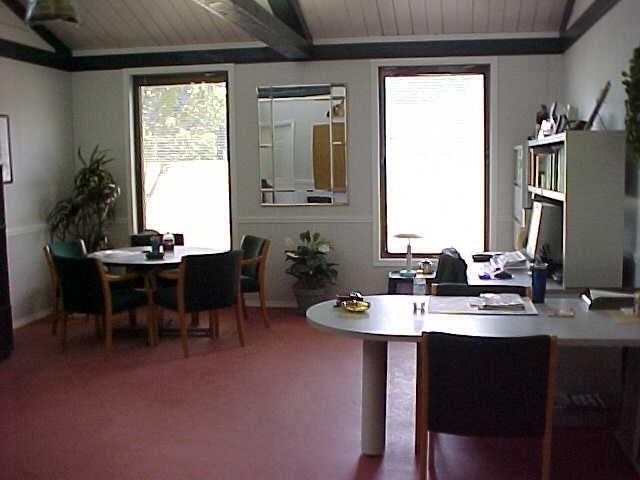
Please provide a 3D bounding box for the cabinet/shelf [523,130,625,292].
[{"bbox_3d":[2.177,-0.252,4.074,0.511,1.212,1.306,0,9,5],"label":"cabinet/shelf"}]

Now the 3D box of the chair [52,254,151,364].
[{"bbox_3d":[-2.295,0.575,5.340,0.920,1.289,1.037,2,5,30],"label":"chair"}]

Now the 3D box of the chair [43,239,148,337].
[{"bbox_3d":[-2.207,0.497,5.141,0.662,0.959,0.838,6,14,18],"label":"chair"}]

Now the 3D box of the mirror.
[{"bbox_3d":[-0.179,-1.231,6.254,1.411,1.898,0.073,0,2,3],"label":"mirror"}]

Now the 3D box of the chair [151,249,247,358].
[{"bbox_3d":[-1.265,0.557,5.176,0.904,0.998,0.968,0,9,-14],"label":"chair"}]

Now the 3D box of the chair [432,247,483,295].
[{"bbox_3d":[1.061,0.252,4.058,0.323,0.441,0.303,2,8,1],"label":"chair"}]

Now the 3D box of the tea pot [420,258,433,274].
[{"bbox_3d":[1.143,0.285,5.335,0.112,0.196,0.198,0,-2,3],"label":"tea pot"}]

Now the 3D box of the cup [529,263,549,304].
[{"bbox_3d":[1.435,0.284,3.349,0.167,0.241,0.174,-8,-1,0],"label":"cup"}]

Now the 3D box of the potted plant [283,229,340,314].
[{"bbox_3d":[-0.091,0.378,6.174,0.638,0.991,0.588,-2,9,-5],"label":"potted plant"}]

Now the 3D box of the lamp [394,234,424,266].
[{"bbox_3d":[1.028,0.080,5.756,0.360,0.445,0.373,2,6,29],"label":"lamp"}]
